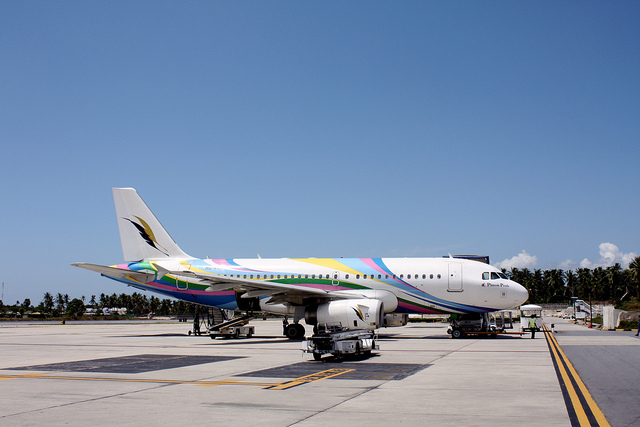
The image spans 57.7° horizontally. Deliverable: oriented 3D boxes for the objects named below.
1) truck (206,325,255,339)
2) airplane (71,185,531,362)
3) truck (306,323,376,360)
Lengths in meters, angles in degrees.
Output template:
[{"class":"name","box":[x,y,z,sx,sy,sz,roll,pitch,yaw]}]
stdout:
[{"class":"truck","box":[-5.868,8.119,39.196,3.029,0.464,1.628,1,-2,-40]},{"class":"airplane","box":[-1.605,3.606,39.324,31.958,7.184,24.983,2,1,9]},{"class":"truck","box":[1.319,5.706,26.047,2.682,0.978,4.151,-1,-8,34]}]
